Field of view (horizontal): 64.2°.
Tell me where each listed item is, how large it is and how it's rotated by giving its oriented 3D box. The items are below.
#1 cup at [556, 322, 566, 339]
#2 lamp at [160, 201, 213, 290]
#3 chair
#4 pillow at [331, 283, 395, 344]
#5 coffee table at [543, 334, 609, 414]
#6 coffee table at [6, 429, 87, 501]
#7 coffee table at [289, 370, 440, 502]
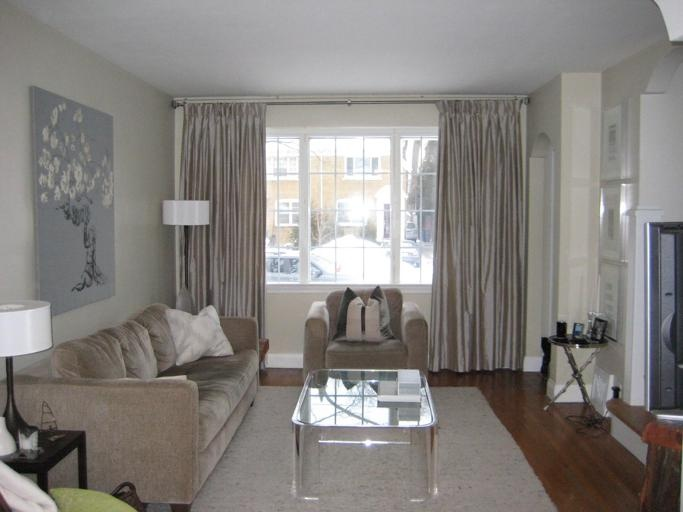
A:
[{"bbox_3d":[2.028,0.673,5.025,0.080,0.141,0.103,4,11,19],"label":"cup"},{"bbox_3d":[-1.626,-0.099,5.801,0.462,1.006,0.527,-3,11,-14],"label":"lamp"},{"bbox_3d":[0.226,0.836,5.596,1.233,0.985,0.955,0,5,-4],"label":"chair"},{"bbox_3d":[0.209,0.585,5.519,0.474,0.522,0.154,1,-20,7],"label":"pillow"},{"bbox_3d":[2.190,1.084,5.071,0.446,0.506,0.439,13,-5,-20],"label":"coffee table"},{"bbox_3d":[-1.736,1.147,3.231,0.278,0.397,0.551,2,2,0],"label":"coffee table"},{"bbox_3d":[0.168,1.409,4.198,0.849,0.461,0.903,-1,4,2],"label":"coffee table"}]
